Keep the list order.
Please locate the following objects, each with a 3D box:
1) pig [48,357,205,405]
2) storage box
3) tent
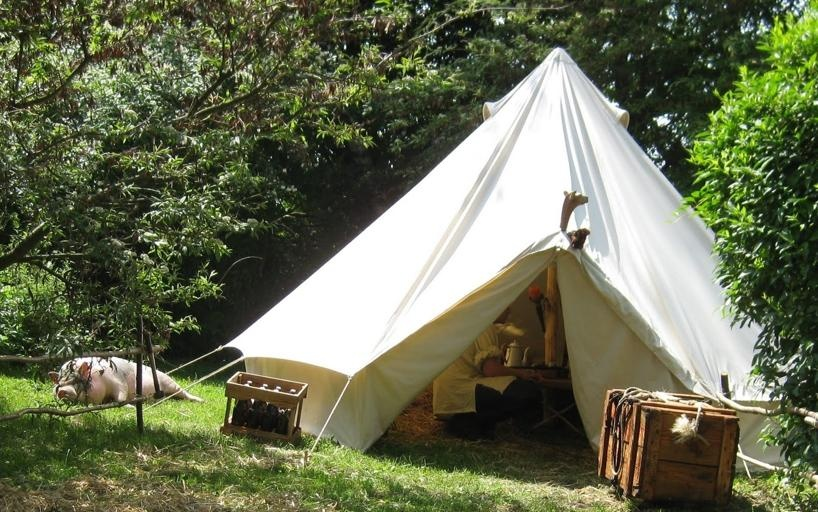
[{"bbox_3d":[-3.650,1.597,10.455,0.800,0.404,1.328,-24,-28,37],"label":"pig"},{"bbox_3d":[2.791,2.056,9.263,1.257,1.033,1.249,4,2,-8],"label":"storage box"},{"bbox_3d":[1.507,0.182,12.392,5.973,3.792,5.003,4,1,5],"label":"tent"}]
